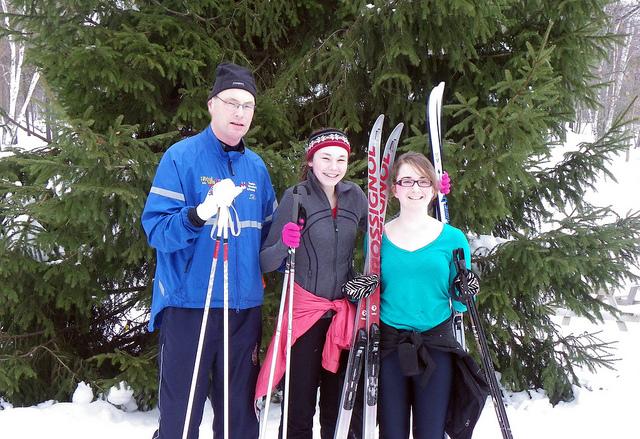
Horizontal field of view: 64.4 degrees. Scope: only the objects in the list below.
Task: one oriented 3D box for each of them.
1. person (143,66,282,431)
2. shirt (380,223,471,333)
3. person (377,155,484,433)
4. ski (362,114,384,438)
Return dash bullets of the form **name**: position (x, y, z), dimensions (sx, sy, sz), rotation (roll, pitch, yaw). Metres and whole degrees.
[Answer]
- **person**: position (-0.969, 0.279, 4.601), dimensions (1.117, 3.300, 0.745), rotation (2, -9, -7)
- **shirt**: position (0.928, 0.539, 4.566), dimensions (0.857, 0.956, 0.487), rotation (1, -3, 6)
- **person**: position (0.933, 0.666, 4.581), dimensions (0.832, 2.473, 0.348), rotation (0, -9, 6)
- **ski**: position (0.503, 0.451, 4.693), dimensions (0.216, 3.006, 0.141), rotation (2, -3, -7)
